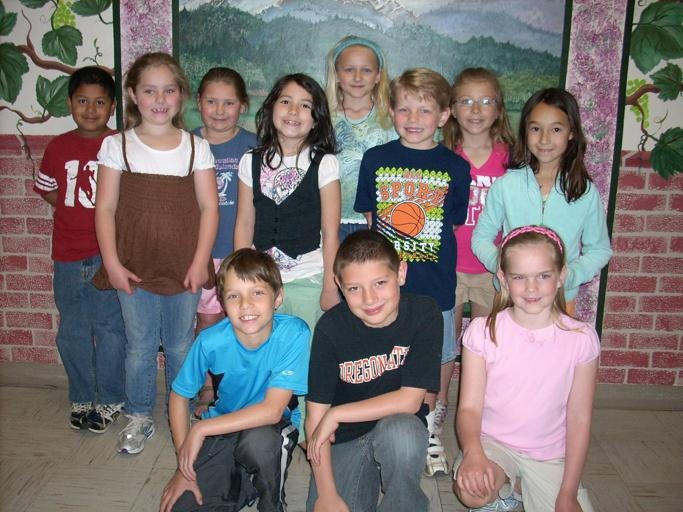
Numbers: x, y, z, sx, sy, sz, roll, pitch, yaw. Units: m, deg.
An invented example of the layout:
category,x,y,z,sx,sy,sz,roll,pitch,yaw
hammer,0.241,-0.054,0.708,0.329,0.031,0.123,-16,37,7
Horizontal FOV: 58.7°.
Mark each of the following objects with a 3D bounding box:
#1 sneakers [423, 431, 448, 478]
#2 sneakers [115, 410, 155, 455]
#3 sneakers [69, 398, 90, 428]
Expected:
category,x,y,z,sx,sy,sz,roll,pitch,yaw
sneakers,0.464,0.986,3.046,0.113,0.105,0.298,-1,8,2
sneakers,-1.057,0.912,3.092,0.108,0.103,0.235,2,5,-1
sneakers,-1.407,0.856,3.274,0.108,0.111,0.133,-2,10,-20
